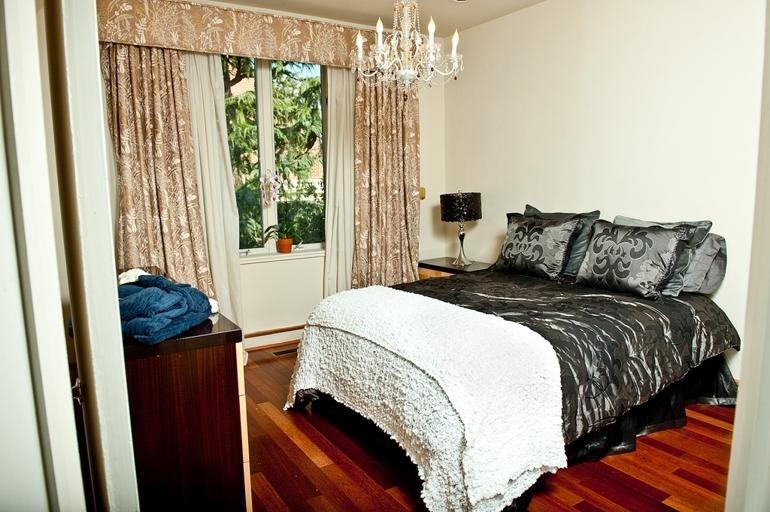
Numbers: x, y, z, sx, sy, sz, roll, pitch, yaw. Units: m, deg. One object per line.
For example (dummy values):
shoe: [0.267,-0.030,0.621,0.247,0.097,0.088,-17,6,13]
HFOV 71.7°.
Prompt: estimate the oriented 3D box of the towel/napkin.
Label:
towel/napkin: [-0.868,0.211,2.145,0.314,0.113,0.322,11,13,38]

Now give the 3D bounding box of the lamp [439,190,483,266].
lamp: [0.740,-0.267,4.958,0.499,0.695,0.347,-14,18,-42]

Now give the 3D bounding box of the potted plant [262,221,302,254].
potted plant: [-0.914,-0.175,4.672,0.264,0.183,0.258,-3,0,-38]
